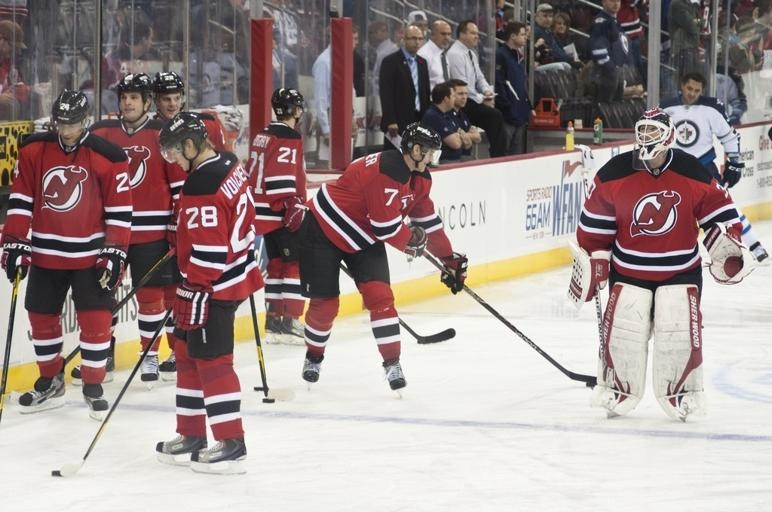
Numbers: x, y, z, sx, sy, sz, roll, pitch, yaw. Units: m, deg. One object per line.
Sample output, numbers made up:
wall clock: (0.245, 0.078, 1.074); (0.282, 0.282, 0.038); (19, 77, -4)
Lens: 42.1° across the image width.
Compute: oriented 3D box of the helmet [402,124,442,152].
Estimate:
helmet: (0.230, -0.779, 6.706); (0.202, 0.199, 0.182); (5, 16, -8)

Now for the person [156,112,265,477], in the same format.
person: (-1.020, 0.207, 5.738); (0.535, 2.001, 0.456); (3, 13, 13)

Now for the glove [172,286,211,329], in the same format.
glove: (-1.083, 0.285, 5.630); (0.209, 0.253, 0.112); (0, 12, 0)

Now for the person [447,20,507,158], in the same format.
person: (1.001, -1.762, 10.926); (0.749, 1.537, 0.550); (6, 18, 17)

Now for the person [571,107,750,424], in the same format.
person: (1.726, 0.065, 6.428); (1.074, 1.932, 0.379); (3, 13, 10)

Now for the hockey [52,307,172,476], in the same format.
hockey: (-1.776, 0.891, 6.480); (0.141, 1.064, 0.117); (-4, -39, 48)

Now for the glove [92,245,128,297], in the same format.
glove: (-1.755, 0.091, 6.502); (0.184, 0.276, 0.121); (13, -2, 37)

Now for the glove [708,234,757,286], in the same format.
glove: (2.203, 0.009, 6.446); (0.297, 0.307, 0.119); (42, 27, 15)

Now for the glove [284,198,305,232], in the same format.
glove: (-0.702, -0.324, 7.758); (0.163, 0.275, 0.110); (7, 2, -13)

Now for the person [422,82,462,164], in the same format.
person: (0.592, -1.296, 9.726); (0.447, 0.768, 0.435); (-9, 19, -35)

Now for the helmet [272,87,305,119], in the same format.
helmet: (-0.737, -1.205, 7.810); (0.231, 0.258, 0.211); (-20, 35, -19)

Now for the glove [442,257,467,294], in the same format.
glove: (0.516, 0.160, 7.150); (0.107, 0.258, 0.187); (15, 23, -26)

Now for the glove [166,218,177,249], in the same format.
glove: (-1.476, -0.170, 6.943); (0.077, 0.193, 0.136); (5, 6, 6)

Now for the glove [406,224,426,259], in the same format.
glove: (0.216, -0.103, 6.995); (0.136, 0.116, 0.187); (-1, 36, 0)

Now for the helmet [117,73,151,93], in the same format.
helmet: (-1.697, -1.171, 6.818); (0.228, 0.131, 0.159); (-4, 14, -16)

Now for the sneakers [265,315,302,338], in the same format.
sneakers: (-0.819, 0.566, 8.038); (0.367, 0.164, 0.128); (3, 5, 6)

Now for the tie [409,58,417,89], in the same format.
tie: (0.287, -1.789, 9.889); (0.053, 0.234, 0.164); (-1, 25, 13)

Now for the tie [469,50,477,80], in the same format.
tie: (0.959, -2.074, 10.905); (0.077, 0.233, 0.168); (2, 14, 6)

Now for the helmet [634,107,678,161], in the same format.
helmet: (1.728, -0.768, 6.347); (0.233, 0.323, 0.324); (3, 8, 32)

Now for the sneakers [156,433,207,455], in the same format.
sneakers: (-1.177, 1.088, 5.867); (0.332, 0.151, 0.115); (2, 5, 14)

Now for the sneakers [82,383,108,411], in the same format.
sneakers: (-1.858, 0.908, 6.463); (0.084, 0.113, 0.259); (0, 27, -26)

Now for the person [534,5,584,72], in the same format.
person: (2.156, -2.784, 12.793); (0.681, 0.787, 0.309); (-10, 16, -39)

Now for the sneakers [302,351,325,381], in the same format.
sneakers: (-0.507, 0.789, 7.007); (0.090, 0.105, 0.250); (18, 42, -26)

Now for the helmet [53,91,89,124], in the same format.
helmet: (-1.949, -0.957, 6.306); (0.161, 0.193, 0.236); (14, 37, -3)

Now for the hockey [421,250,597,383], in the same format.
hockey: (0.976, 0.523, 8.221); (1.432, 0.212, 0.104); (36, -7, 14)

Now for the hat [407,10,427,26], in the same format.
hat: (0.310, -2.474, 10.417); (0.152, 0.192, 0.180); (-9, 33, -30)

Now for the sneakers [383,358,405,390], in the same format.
sneakers: (0.064, 0.808, 6.878); (0.084, 0.260, 0.109); (-27, -22, 15)

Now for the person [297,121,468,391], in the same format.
person: (-0.039, 0.013, 6.900); (1.105, 1.841, 0.584); (-1, 12, -6)

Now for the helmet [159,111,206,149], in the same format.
helmet: (-1.157, -0.690, 5.732); (0.224, 0.231, 0.183); (-18, 1, -6)

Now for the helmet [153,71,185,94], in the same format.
helmet: (-1.514, -1.213, 7.015); (0.142, 0.186, 0.186); (-3, -9, -27)
